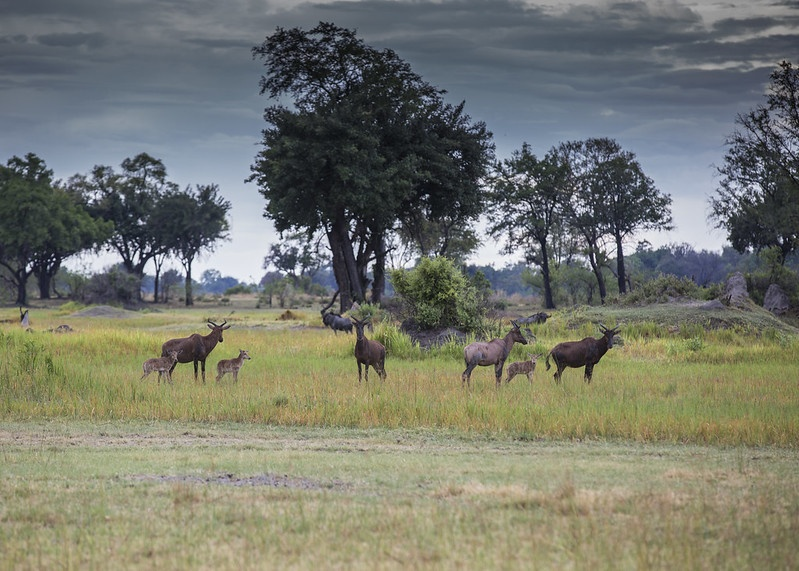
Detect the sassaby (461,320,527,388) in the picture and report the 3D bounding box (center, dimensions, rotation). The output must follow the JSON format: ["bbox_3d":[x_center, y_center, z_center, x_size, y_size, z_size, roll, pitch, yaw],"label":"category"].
[{"bbox_3d":[4.252,3.251,59.262,3.075,2.692,1.485,1,-3,-43],"label":"sassaby"}]

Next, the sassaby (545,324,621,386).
[{"bbox_3d":[8.525,3.237,60.281,2.735,2.579,2.528,-1,-2,5],"label":"sassaby"}]
